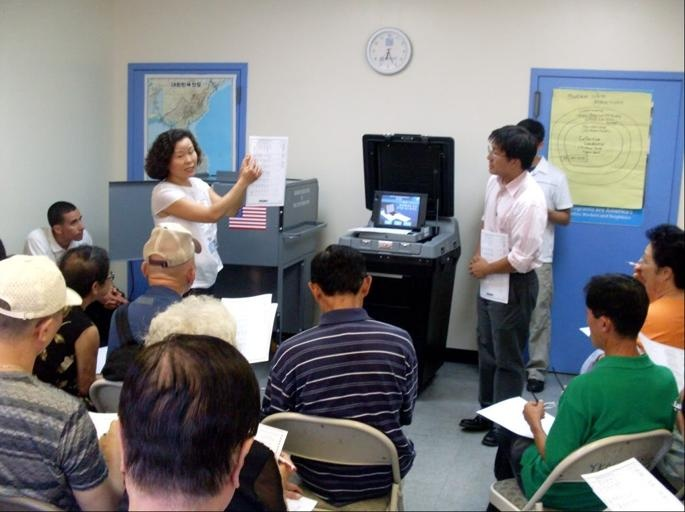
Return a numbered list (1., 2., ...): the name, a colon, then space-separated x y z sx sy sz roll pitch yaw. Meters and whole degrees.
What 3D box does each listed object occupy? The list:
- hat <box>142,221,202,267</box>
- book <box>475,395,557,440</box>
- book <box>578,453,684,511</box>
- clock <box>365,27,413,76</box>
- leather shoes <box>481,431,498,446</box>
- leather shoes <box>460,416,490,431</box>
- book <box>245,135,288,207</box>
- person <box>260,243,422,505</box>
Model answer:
1. hat: -0.717 -0.072 2.335 0.144 0.130 0.223 5 20 8
2. book: 0.729 0.605 2.302 0.189 0.093 0.269 -12 24 -33
3. book: 0.846 0.686 1.575 0.211 0.076 0.241 -2 13 -12
4. clock: 0.374 -1.616 4.346 0.335 0.363 0.081 2 10 18
5. leather shoes: 0.895 1.108 3.320 0.044 0.058 0.131 5 10 25
6. leather shoes: 0.836 1.061 3.482 0.179 0.083 0.085 4 -3 -6
7. book: -0.397 -0.441 2.851 0.206 0.349 0.135 0 12 -3
8. person: 0.024 0.405 2.164 0.679 1.134 0.804 0 6 1
